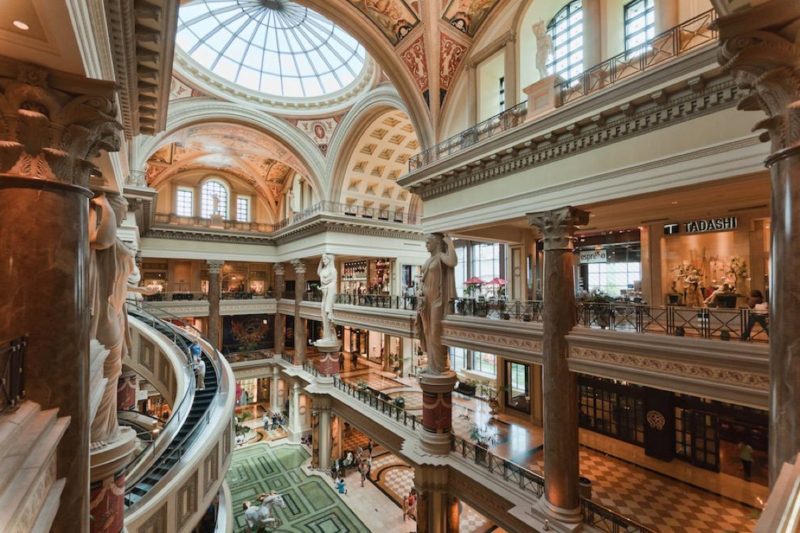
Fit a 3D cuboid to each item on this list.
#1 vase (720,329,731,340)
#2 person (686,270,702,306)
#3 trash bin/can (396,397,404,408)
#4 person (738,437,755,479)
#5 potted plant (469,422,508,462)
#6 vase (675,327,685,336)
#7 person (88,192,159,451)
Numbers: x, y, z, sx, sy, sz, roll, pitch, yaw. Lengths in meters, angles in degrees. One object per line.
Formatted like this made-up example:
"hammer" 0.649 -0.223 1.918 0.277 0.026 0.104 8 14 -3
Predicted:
"vase" 5.652 1.183 8.947 0.155 0.137 0.089 -3 -9 14
"person" 6.404 0.477 11.189 0.315 0.821 0.268 -1 -8 23
"trash bin/can" 0.045 3.993 15.030 0.276 0.259 0.269 0 0 -27
"person" 7.783 4.312 11.561 0.220 0.727 0.579 -1 8 33
"potted plant" 2.331 4.661 13.741 0.785 0.774 0.802 4 -5 17
"vase" 5.084 1.171 9.337 0.185 0.167 0.181 10 -15 -30
"person" -4.573 0.754 8.104 0.772 3.763 1.292 -7 7 -16
